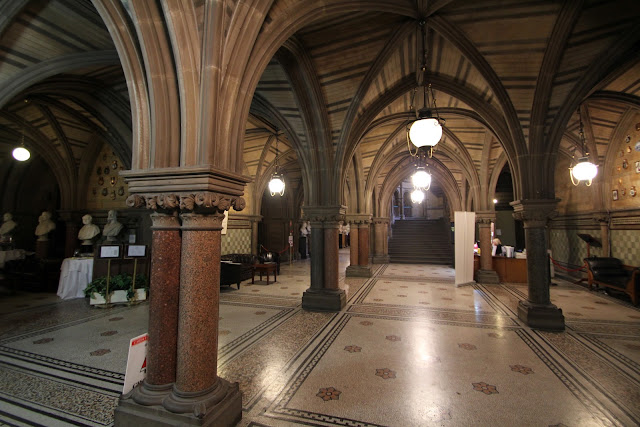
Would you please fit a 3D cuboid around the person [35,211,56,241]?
[{"bbox_3d":[-9.034,0.407,11.518,0.463,0.940,0.664,-6,10,-36],"label":"person"}]

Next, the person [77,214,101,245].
[{"bbox_3d":[-7.456,0.523,11.291,1.002,1.035,0.576,-2,-7,19],"label":"person"}]

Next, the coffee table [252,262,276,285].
[{"bbox_3d":[-1.885,1.932,11.786,0.738,0.693,0.966,1,-2,14],"label":"coffee table"}]

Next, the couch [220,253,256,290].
[{"bbox_3d":[-2.615,1.922,11.317,0.729,0.686,2.074,24,-12,-30],"label":"couch"}]

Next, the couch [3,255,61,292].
[{"bbox_3d":[-8.149,1.764,10.131,1.682,0.886,1.007,0,-6,19],"label":"couch"}]

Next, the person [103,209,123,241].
[{"bbox_3d":[-6.429,0.372,10.891,0.533,1.010,0.834,-4,9,-29],"label":"person"}]
